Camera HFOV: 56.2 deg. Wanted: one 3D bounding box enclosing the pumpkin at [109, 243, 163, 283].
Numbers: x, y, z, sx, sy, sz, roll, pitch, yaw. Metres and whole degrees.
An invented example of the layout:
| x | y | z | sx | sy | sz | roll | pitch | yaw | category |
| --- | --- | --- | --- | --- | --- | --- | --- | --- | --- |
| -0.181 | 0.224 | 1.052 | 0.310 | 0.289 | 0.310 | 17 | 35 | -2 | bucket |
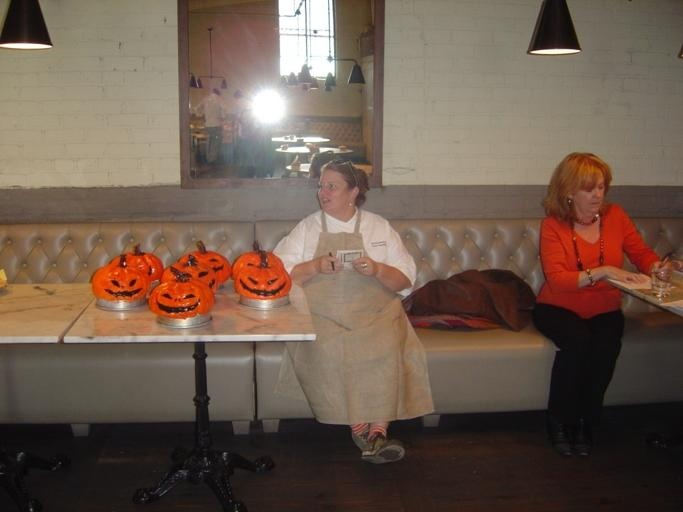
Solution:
| x | y | z | sx | sy | sz | roll | pitch | yaw | category |
| --- | --- | --- | --- | --- | --- | --- | --- | --- | --- |
| -1.021 | 0.036 | 3.237 | 0.222 | 0.201 | 0.217 | 2 | 4 | -20 | pumpkin |

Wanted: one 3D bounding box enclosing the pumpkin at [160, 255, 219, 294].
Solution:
| x | y | z | sx | sy | sz | roll | pitch | yaw | category |
| --- | --- | --- | --- | --- | --- | --- | --- | --- | --- |
| -0.724 | 0.075 | 3.048 | 0.217 | 0.202 | 0.214 | 6 | 5 | -9 | pumpkin |

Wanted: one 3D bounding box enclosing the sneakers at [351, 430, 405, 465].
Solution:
| x | y | z | sx | sy | sz | roll | pitch | yaw | category |
| --- | --- | --- | --- | --- | --- | --- | --- | --- | --- |
| 0.195 | 1.003 | 3.364 | 0.311 | 0.132 | 0.121 | -9 | 37 | 17 | sneakers |

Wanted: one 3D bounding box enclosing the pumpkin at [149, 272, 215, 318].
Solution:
| x | y | z | sx | sy | sz | roll | pitch | yaw | category |
| --- | --- | --- | --- | --- | --- | --- | --- | --- | --- |
| -0.702 | 0.195 | 2.894 | 0.209 | 0.126 | 0.205 | 4 | 13 | 3 | pumpkin |

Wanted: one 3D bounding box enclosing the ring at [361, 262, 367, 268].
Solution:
| x | y | z | sx | sy | sz | roll | pitch | yaw | category |
| --- | --- | --- | --- | --- | --- | --- | --- | --- | --- |
| 0.123 | 0.053 | 3.358 | 0.026 | 0.013 | 0.019 | 1 | 25 | 11 | ring |

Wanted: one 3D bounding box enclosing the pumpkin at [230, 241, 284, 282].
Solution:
| x | y | z | sx | sy | sz | roll | pitch | yaw | category |
| --- | --- | --- | --- | --- | --- | --- | --- | --- | --- |
| -0.432 | 0.022 | 3.245 | 0.222 | 0.197 | 0.224 | 2 | 0 | 23 | pumpkin |

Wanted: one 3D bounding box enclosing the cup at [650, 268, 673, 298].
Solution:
| x | y | z | sx | sy | sz | roll | pitch | yaw | category |
| --- | --- | --- | --- | --- | --- | --- | --- | --- | --- |
| 1.616 | 0.137 | 3.239 | 0.111 | 0.140 | 0.142 | 0 | -1 | 9 | cup |

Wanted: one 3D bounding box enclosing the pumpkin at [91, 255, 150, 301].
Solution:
| x | y | z | sx | sy | sz | roll | pitch | yaw | category |
| --- | --- | --- | --- | --- | --- | --- | --- | --- | --- |
| -1.036 | 0.083 | 3.084 | 0.229 | 0.222 | 0.232 | 7 | 8 | 36 | pumpkin |

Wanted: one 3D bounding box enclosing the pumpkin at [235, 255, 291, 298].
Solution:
| x | y | z | sx | sy | sz | roll | pitch | yaw | category |
| --- | --- | --- | --- | --- | --- | --- | --- | --- | --- |
| -0.372 | 0.075 | 3.069 | 0.233 | 0.202 | 0.229 | 0 | 6 | -8 | pumpkin |

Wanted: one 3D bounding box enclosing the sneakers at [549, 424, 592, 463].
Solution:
| x | y | z | sx | sy | sz | roll | pitch | yaw | category |
| --- | --- | --- | --- | --- | --- | --- | --- | --- | --- |
| 1.267 | 1.017 | 3.521 | 0.200 | 0.134 | 0.128 | -1 | 15 | 7 | sneakers |

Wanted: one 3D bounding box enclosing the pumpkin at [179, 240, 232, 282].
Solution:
| x | y | z | sx | sy | sz | roll | pitch | yaw | category |
| --- | --- | --- | --- | --- | --- | --- | --- | --- | --- |
| -0.741 | 0.020 | 3.380 | 0.240 | 0.221 | 0.231 | 1 | 10 | 22 | pumpkin |
